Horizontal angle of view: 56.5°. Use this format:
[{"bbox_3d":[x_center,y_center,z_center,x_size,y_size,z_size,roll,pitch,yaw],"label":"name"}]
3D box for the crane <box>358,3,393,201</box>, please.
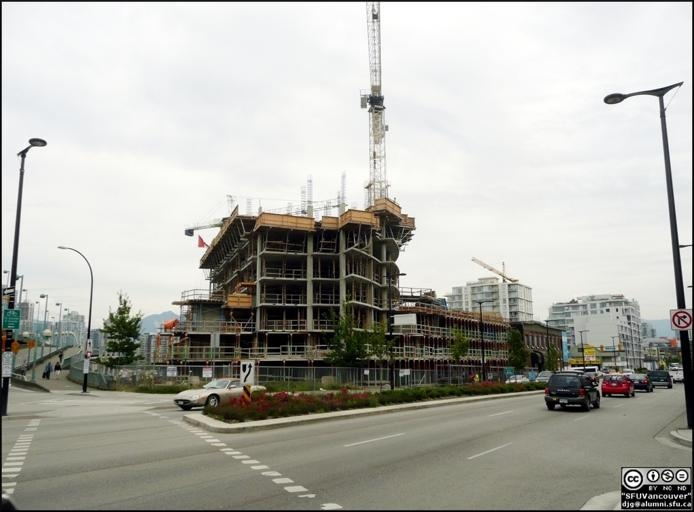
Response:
[{"bbox_3d":[2.848,-19.904,99.129,3.064,39.113,5.680,5,-4,-13],"label":"crane"}]
